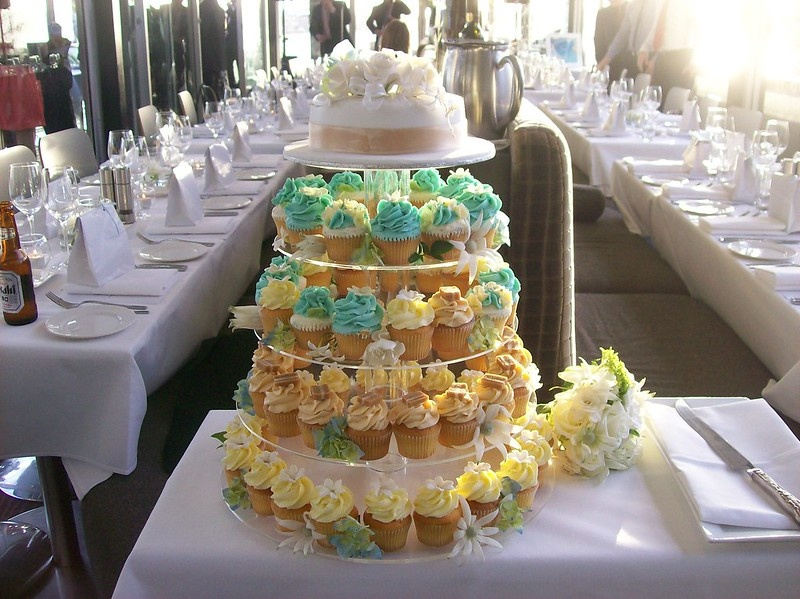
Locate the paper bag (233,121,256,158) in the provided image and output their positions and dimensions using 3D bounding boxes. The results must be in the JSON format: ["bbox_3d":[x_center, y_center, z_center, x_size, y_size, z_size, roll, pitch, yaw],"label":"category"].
[{"bbox_3d":[-1.052,-1.053,3.808,0.116,0.234,0.300,-5,20,-15],"label":"paper bag"}]

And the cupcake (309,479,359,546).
[{"bbox_3d":[-0.120,0.374,1.061,0.095,0.133,0.107,0,10,-1],"label":"cupcake"}]

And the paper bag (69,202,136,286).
[{"bbox_3d":[-1.078,-0.192,2.059,0.091,0.276,0.280,2,20,6],"label":"paper bag"}]

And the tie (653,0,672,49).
[{"bbox_3d":[3.173,-3.304,6.925,0.113,0.566,0.261,13,23,35],"label":"tie"}]

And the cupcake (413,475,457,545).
[{"bbox_3d":[0.069,0.392,1.114,0.094,0.133,0.104,4,27,8],"label":"cupcake"}]

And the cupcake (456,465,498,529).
[{"bbox_3d":[0.150,0.362,1.089,0.078,0.113,0.093,-4,17,-1],"label":"cupcake"}]

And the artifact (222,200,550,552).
[{"bbox_3d":[-0.043,0.171,1.213,0.520,0.531,0.566,-5,32,-6],"label":"artifact"}]

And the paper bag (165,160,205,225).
[{"bbox_3d":[-1.017,-0.505,2.643,0.121,0.298,0.293,3,6,-30],"label":"paper bag"}]

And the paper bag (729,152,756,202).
[{"bbox_3d":[1.727,-0.608,2.851,0.124,0.265,0.113,3,3,8],"label":"paper bag"}]

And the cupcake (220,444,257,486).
[{"bbox_3d":[-0.324,0.325,1.156,0.071,0.081,0.074,1,21,-2],"label":"cupcake"}]

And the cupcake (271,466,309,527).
[{"bbox_3d":[-0.205,0.372,1.074,0.068,0.091,0.067,-7,34,-28],"label":"cupcake"}]
